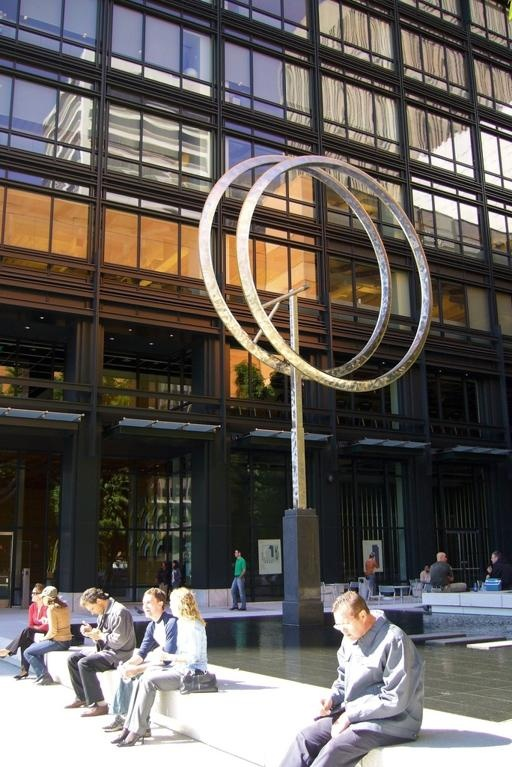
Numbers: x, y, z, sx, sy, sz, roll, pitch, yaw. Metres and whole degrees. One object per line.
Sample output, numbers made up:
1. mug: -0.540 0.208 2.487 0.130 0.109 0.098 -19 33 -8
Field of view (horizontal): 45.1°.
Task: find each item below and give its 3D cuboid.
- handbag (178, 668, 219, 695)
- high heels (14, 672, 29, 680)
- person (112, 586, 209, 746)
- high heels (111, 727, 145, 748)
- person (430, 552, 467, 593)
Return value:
1. handbag: -0.510 2.757 5.665 0.361 0.190 0.145 6 -14 -32
2. high heels: -3.561 4.438 9.350 0.218 0.093 0.079 2 -20 13
3. person: -0.893 2.579 5.734 0.875 1.243 0.475 6 -14 -32
4. high heels: -1.120 3.066 5.343 0.250 0.098 0.140 6 -22 -7
5. person: 5.098 5.087 16.563 0.776 1.043 1.531 -5 -12 19
